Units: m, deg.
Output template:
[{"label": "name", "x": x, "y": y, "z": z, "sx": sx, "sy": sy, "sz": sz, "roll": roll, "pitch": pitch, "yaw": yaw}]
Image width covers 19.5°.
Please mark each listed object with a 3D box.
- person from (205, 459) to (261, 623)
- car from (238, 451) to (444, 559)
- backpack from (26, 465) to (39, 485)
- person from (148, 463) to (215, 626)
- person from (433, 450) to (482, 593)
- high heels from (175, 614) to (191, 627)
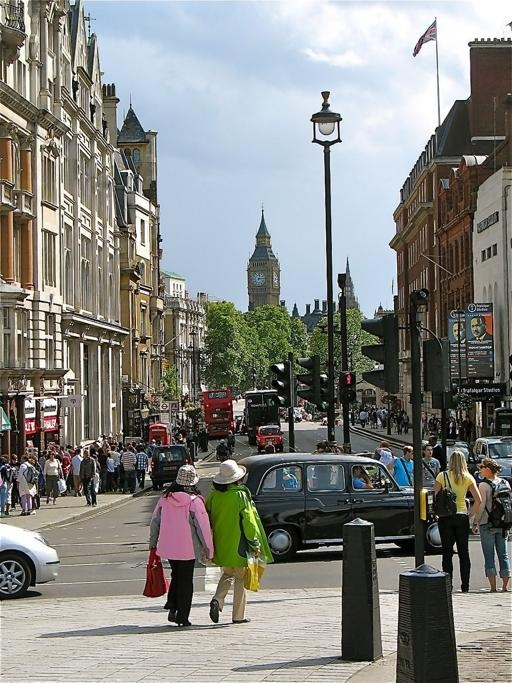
[{"label": "person", "x": -0.249, "y": 2.001, "z": 14.767, "sx": 0.494, "sy": 1.523, "sz": 0.700, "roll": -1, "pitch": -1, "yaw": 19}, {"label": "car", "x": 0.999, "y": 2.446, "z": 21.705, "sx": 2.839, "sy": 1.469, "sz": 1.310, "roll": -1, "pitch": -2, "yaw": -2}, {"label": "backpack", "x": -4.771, "y": 2.895, "z": 31.558, "sx": 0.287, "sy": 0.653, "sz": 0.403, "roll": 1, "pitch": 6, "yaw": -5}, {"label": "person", "x": -0.731, "y": 2.045, "z": 14.721, "sx": 0.588, "sy": 1.578, "sz": 0.664, "roll": 0, "pitch": -6, "yaw": -18}, {"label": "person", "x": 2.359, "y": 2.024, "z": 17.564, "sx": 0.686, "sy": 2.167, "sz": 0.645, "roll": -2, "pitch": -1, "yaw": 4}, {"label": "high heels", "x": -0.720, "y": 2.772, "z": 14.601, "sx": 0.167, "sy": 0.148, "sz": 0.064, "roll": 0, "pitch": 3, "yaw": -10}]
